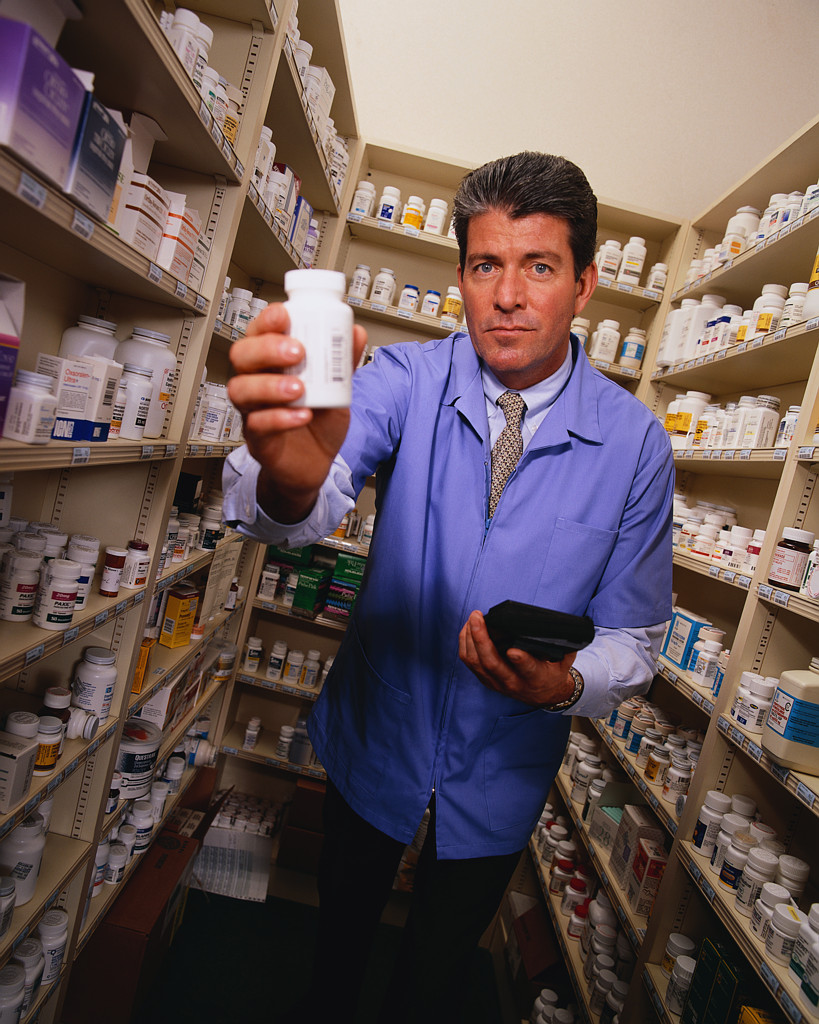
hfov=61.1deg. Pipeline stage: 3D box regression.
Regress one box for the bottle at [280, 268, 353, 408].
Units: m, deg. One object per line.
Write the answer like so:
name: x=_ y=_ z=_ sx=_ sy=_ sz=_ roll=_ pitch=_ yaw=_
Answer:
bottle: x=-0.080 y=-0.161 z=0.648 sx=0.080 sy=0.111 sz=0.081 roll=12 pitch=4 yaw=-1

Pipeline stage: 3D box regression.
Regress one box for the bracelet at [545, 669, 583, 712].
bracelet: x=0.261 y=0.288 z=1.122 sx=0.051 sy=0.070 sz=0.026 roll=-2 pitch=12 yaw=-2

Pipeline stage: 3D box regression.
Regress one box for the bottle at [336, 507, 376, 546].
bottle: x=-0.234 y=0.105 z=3.200 sx=0.162 sy=0.234 sz=0.085 roll=18 pitch=12 yaw=20

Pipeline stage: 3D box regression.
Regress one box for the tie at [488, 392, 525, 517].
tie: x=0.187 y=-0.122 z=1.286 sx=0.050 sy=0.254 sz=0.040 roll=10 pitch=-25 yaw=5
